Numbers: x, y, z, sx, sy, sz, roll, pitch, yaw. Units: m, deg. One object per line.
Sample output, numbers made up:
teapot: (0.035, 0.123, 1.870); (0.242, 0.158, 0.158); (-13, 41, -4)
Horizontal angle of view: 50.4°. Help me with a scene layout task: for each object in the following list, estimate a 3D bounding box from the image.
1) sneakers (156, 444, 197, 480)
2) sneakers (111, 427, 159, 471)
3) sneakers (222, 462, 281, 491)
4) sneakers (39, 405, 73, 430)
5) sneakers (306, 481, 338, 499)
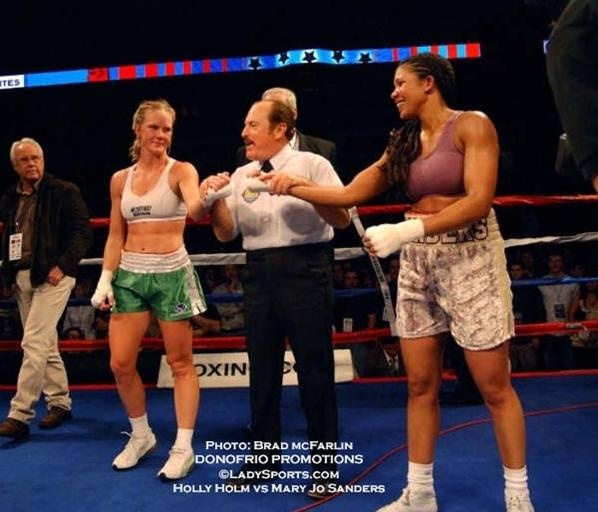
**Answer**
sneakers: (-0.657, 1.111, 3.449); (0.130, 0.150, 0.343); (0, 1, 15)
sneakers: (-0.938, 1.085, 3.604); (0.112, 0.139, 0.317); (10, 17, 29)
sneakers: (-0.239, 1.139, 3.302); (0.302, 0.109, 0.104); (3, -9, -21)
sneakers: (-1.627, 1.059, 4.234); (0.144, 0.103, 0.214); (-1, 8, 6)
sneakers: (0.116, 1.153, 3.158); (0.134, 0.119, 0.070); (2, -11, 1)
